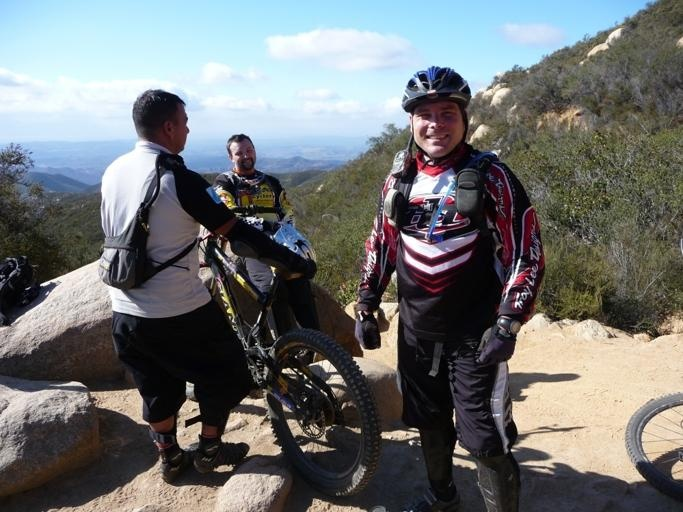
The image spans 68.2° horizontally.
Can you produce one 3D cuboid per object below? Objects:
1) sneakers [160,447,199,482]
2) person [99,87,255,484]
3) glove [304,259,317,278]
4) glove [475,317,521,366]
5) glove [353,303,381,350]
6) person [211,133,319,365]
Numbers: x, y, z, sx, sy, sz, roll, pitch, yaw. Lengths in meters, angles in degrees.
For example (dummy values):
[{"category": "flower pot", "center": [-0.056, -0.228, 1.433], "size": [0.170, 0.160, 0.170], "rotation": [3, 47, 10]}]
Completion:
[{"category": "sneakers", "center": [-1.357, 1.736, 4.188], "size": [0.136, 0.296, 0.309], "rotation": [14, 34, 22]}, {"category": "person", "center": [-1.333, 0.309, 4.040], "size": [1.136, 3.139, 0.616], "rotation": [6, 16, 19]}, {"category": "glove", "center": [-0.247, 0.090, 4.070], "size": [0.104, 0.136, 0.121], "rotation": [-6, -18, 3]}, {"category": "glove", "center": [1.028, 0.566, 3.311], "size": [0.256, 0.368, 0.169], "rotation": [5, 16, 16]}, {"category": "glove", "center": [0.200, 0.529, 3.828], "size": [0.237, 0.304, 0.134], "rotation": [-1, 6, 25]}, {"category": "person", "center": [-0.856, -0.261, 5.631], "size": [0.979, 0.810, 2.773], "rotation": [16, 45, -41]}]
